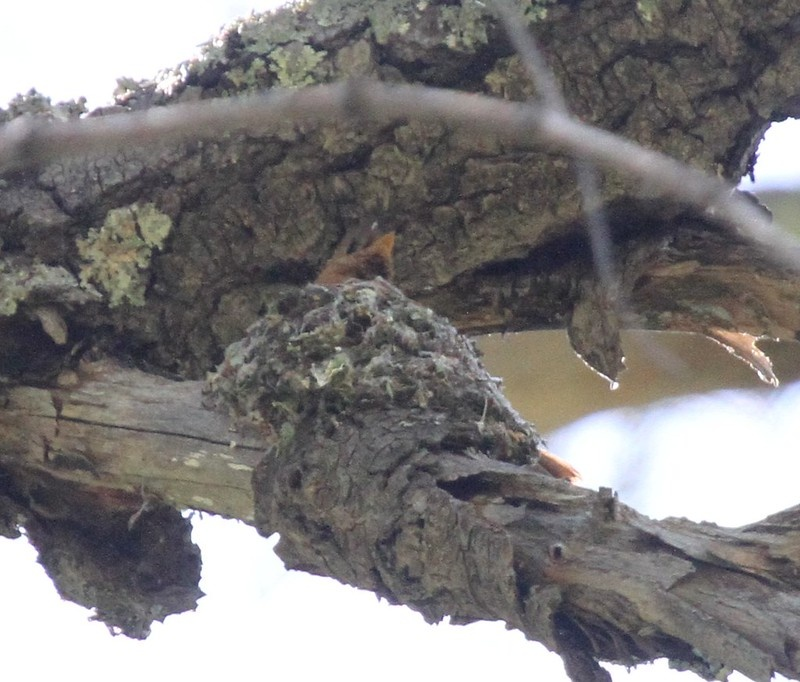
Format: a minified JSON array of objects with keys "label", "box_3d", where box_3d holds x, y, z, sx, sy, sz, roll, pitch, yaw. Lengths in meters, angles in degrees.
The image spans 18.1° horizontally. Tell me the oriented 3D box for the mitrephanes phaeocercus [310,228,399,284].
[{"label":"mitrephanes phaeocercus","box_3d":[-0.334,-0.588,17.606,0.572,0.469,0.324,-8,-44,-2]}]
